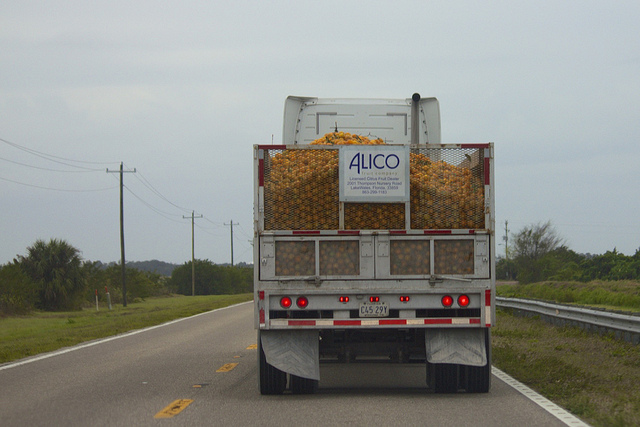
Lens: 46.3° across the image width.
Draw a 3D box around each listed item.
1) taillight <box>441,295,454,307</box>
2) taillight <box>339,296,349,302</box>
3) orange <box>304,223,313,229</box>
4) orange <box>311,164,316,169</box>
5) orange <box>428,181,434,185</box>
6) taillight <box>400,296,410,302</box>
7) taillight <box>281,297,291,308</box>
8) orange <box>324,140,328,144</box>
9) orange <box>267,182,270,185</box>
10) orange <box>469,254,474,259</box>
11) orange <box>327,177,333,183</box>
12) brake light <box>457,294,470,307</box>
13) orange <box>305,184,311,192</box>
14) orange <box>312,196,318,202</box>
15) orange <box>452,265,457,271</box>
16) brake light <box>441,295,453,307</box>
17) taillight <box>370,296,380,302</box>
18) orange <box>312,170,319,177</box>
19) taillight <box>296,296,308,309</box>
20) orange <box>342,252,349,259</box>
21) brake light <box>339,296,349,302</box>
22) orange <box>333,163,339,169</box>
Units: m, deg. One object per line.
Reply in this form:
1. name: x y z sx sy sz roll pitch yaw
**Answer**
1. taillight: 2.495 1.702 14.663 0.178 0.228 0.123 -2 5 2
2. taillight: 0.484 1.667 14.615 0.148 0.099 0.106 0 -7 -4
3. orange: -0.220 0.257 14.787 0.128 0.155 0.078 1 -9 -5
4. orange: -0.129 -0.923 14.854 0.070 0.065 0.045 0 -6 -4
5. orange: 2.207 -0.587 14.881 0.064 0.054 0.041 0 -8 2
6. taillight: 1.660 1.669 14.688 0.184 0.097 0.026 0 -5 -9
7. taillight: -0.666 1.740 14.691 0.156 0.199 0.106 -7 5 -4
8. orange: 0.138 -1.619 17.218 0.079 0.069 0.085 0 -8 -5
9. orange: -1.022 -0.581 14.807 0.044 0.054 0.081 0 1 -1
10. orange: 2.976 0.843 14.756 0.096 0.089 0.059 0 -10 1
11. orange: 0.199 -0.655 14.860 0.087 0.091 0.135 0 -8 -1
12. brake light: 2.819 1.713 14.742 0.233 0.243 0.046 0 -5 -11
13. orange: -0.236 -0.485 14.877 0.127 0.157 0.074 7 -7 -16
14. orange: -0.091 -0.276 14.832 0.124 0.153 0.075 1 -8 -5
15. orange: 2.638 1.077 14.738 0.092 0.112 0.060 0 -8 1
16. brake light: 2.498 1.717 14.724 0.212 0.231 0.041 1 -5 -12
17. taillight: 1.070 1.670 14.674 0.100 0.122 0.071 -1 -3 9
18. orange: -0.095 -0.776 14.902 0.092 0.114 0.101 1 -7 -5
19. taillight: -0.351 1.749 14.680 0.220 0.229 0.031 0 -5 -4
20. orange: 0.501 0.827 14.716 0.148 0.180 0.090 0 -7 -1
21. brake light: 0.480 1.674 14.669 0.170 0.111 0.030 0 -5 -6
22. orange: 0.316 -0.919 14.868 0.100 0.128 0.065 1 -8 -4
